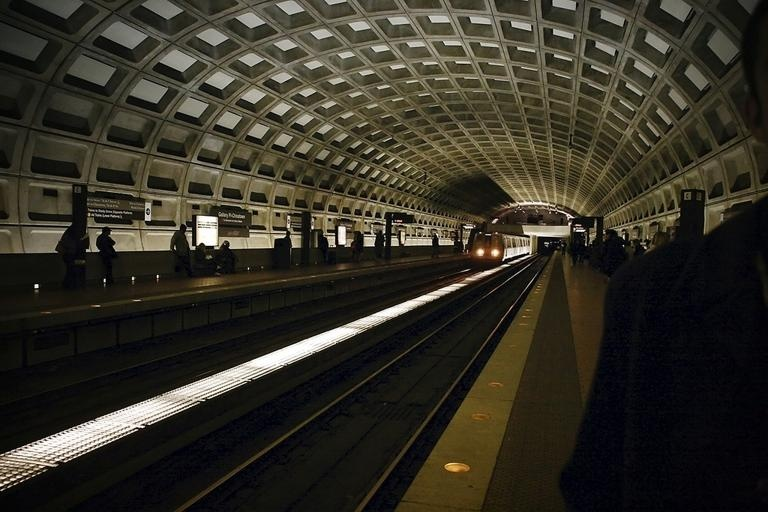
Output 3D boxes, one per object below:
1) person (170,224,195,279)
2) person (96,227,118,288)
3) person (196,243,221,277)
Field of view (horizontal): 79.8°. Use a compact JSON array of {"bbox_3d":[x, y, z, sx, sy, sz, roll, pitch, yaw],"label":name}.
[{"bbox_3d":[-6.866,-0.185,15.789,0.502,1.784,1.079,1,2,-2],"label":"person"},{"bbox_3d":[-7.798,-0.028,13.096,0.460,1.603,0.999,0,2,-31],"label":"person"},{"bbox_3d":[-6.608,0.036,17.157,0.819,1.218,0.621,-1,27,-29],"label":"person"}]
